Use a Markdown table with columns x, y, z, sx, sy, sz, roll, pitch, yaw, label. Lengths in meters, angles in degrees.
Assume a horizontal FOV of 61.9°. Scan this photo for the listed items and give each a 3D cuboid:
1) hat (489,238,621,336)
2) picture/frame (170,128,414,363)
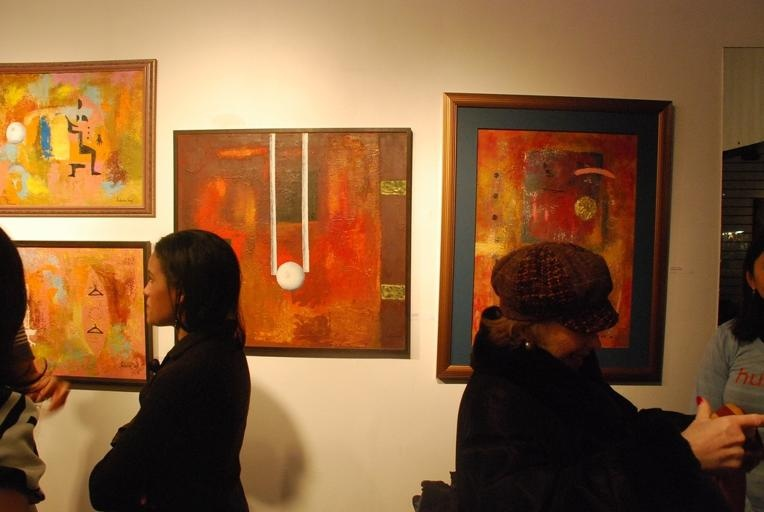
| x | y | z | sx | sy | sz | roll | pitch | yaw | label |
| --- | --- | --- | --- | --- | --- | --- | --- | --- | --- |
| 0.598 | 0.107 | 2.220 | 0.296 | 0.166 | 0.382 | -28 | 35 | -37 | hat |
| -0.344 | -0.078 | 2.556 | 1.006 | 0.906 | 0.047 | 1 | -1 | -4 | picture/frame |
